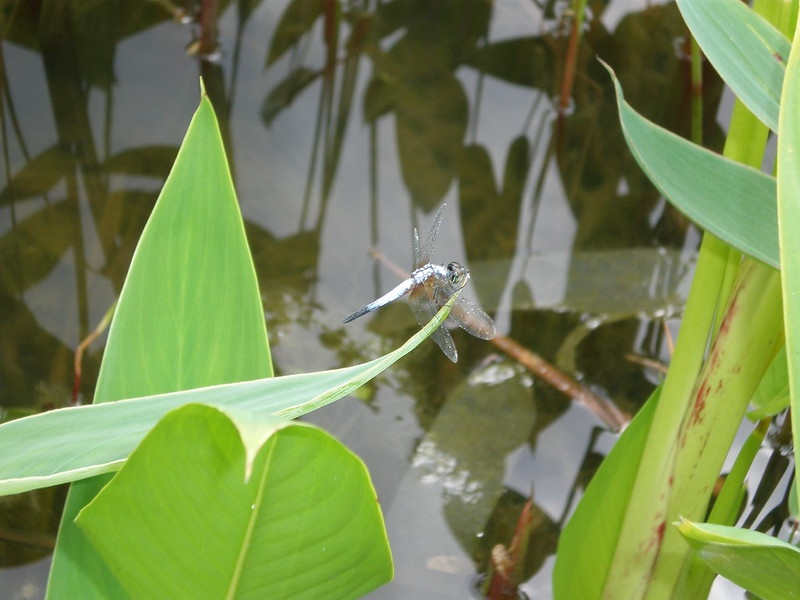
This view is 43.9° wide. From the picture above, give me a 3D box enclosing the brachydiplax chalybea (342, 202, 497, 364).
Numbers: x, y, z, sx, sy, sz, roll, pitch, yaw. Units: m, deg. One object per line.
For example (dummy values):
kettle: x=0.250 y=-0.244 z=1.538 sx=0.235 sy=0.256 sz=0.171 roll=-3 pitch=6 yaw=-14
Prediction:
brachydiplax chalybea: x=0.009 y=-0.005 z=0.702 sx=0.092 sy=0.052 sz=0.132 roll=-9 pitch=51 yaw=-17
